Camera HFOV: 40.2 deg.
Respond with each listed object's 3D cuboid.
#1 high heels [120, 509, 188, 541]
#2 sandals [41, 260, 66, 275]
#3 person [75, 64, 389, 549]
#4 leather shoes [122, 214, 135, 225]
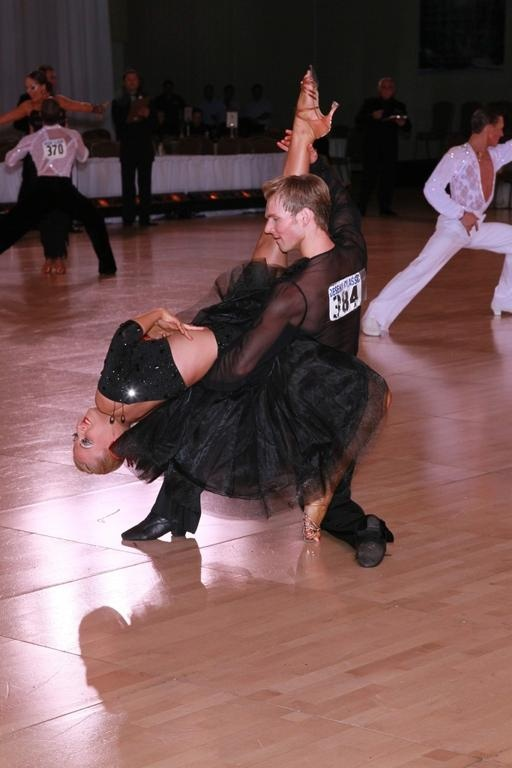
[{"bbox_3d":[-0.315,0.460,2.288,0.247,0.099,0.085,1,-1,-4],"label":"high heels"},{"bbox_3d":[-2.493,-1.434,8.584,0.149,0.165,0.448,-2,-1,-5],"label":"sandals"},{"bbox_3d":[-0.056,-0.219,2.056,0.913,1.487,0.515,0,4,7],"label":"person"},{"bbox_3d":[-2.286,-2.917,12.464,0.170,0.127,0.169,-1,5,-5],"label":"leather shoes"}]
